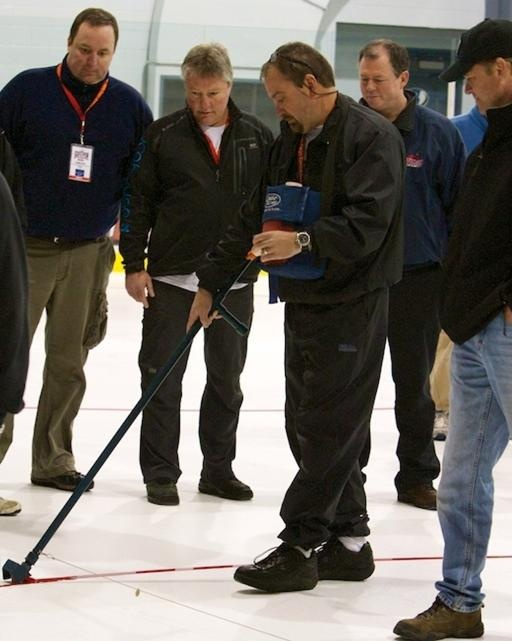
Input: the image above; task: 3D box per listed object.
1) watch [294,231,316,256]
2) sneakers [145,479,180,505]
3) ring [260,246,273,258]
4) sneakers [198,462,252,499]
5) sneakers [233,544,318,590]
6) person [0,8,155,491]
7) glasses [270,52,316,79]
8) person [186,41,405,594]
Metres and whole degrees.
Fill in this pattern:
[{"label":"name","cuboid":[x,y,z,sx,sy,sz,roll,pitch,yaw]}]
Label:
[{"label":"watch","cuboid":[0.130,-0.215,1.967,0.045,0.056,0.043,3,3,-1]},{"label":"sneakers","cuboid":[-0.387,0.712,3.005,0.130,0.075,0.157,2,2,-10]},{"label":"ring","cuboid":[0.029,-0.194,2.025,0.028,0.030,0.012,11,12,15]},{"label":"sneakers","cuboid":[-0.121,0.698,3.148,0.294,0.147,0.101,2,0,26]},{"label":"sneakers","cuboid":[0.074,0.733,2.175,0.268,0.114,0.118,2,-6,-12]},{"label":"person","cuboid":[-0.783,-0.275,3.072,0.398,1.998,0.490,5,3,28]},{"label":"glasses","cuboid":[0.099,-0.706,1.997,0.108,0.023,0.074,14,-3,-14]},{"label":"person","cuboid":[0.126,0.007,2.196,0.612,1.598,0.482,5,3,25]}]
